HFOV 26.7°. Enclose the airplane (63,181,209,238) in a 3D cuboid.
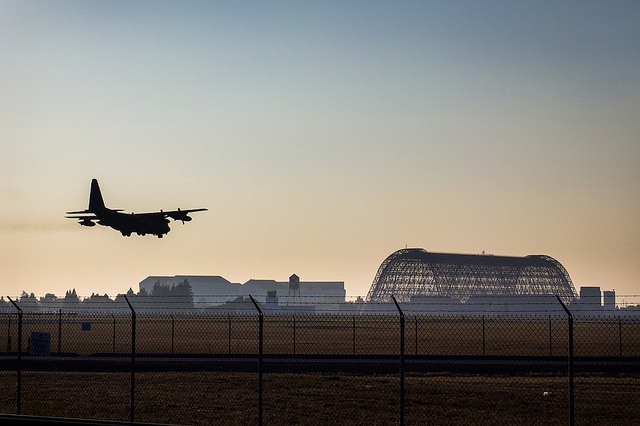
[{"bbox_3d":[-15.479,-0.228,108.186,9.811,4.120,11.723,7,8,41],"label":"airplane"}]
